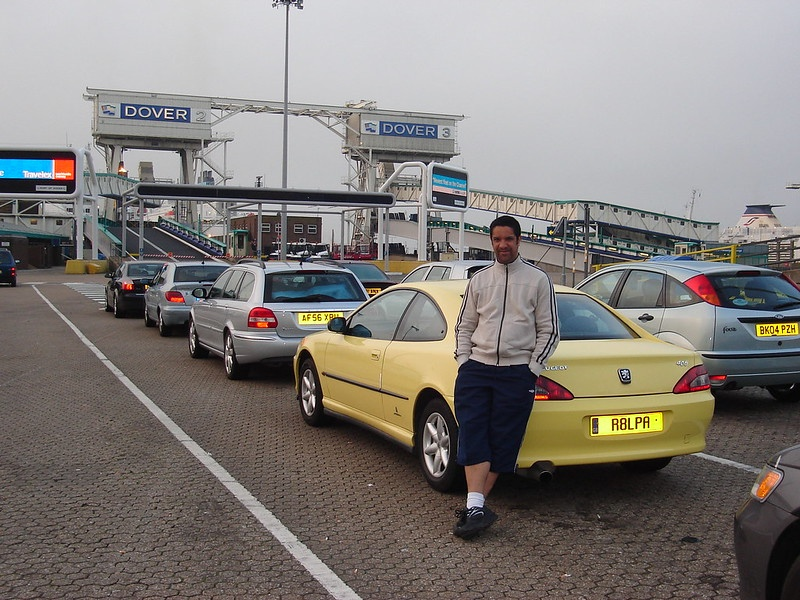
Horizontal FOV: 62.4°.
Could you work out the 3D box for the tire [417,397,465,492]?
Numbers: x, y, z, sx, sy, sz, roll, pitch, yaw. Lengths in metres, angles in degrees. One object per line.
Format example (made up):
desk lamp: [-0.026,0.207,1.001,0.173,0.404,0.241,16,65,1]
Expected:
tire: [0.375,1.168,5.355,0.201,0.705,0.663,3,-12,-25]

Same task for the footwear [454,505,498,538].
footwear: [0.503,1.523,4.553,0.201,0.157,0.401,23,-32,-10]

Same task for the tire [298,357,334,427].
tire: [-0.942,1.056,7.649,0.233,0.757,0.714,1,-11,-25]

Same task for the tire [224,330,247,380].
tire: [-2.630,0.873,10.532,0.225,0.737,0.710,0,23,-26]

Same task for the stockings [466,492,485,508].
stockings: [0.518,1.371,4.538,0.110,0.127,0.090,11,-20,-13]

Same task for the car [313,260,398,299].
car: [-0.834,-0.696,17.876,0.881,0.702,1.980,-2,10,-21]

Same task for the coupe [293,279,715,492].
coupe: [0.464,0.582,6.159,1.769,1.237,3.543,-1,7,-31]

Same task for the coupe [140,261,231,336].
coupe: [-5.651,-0.178,16.814,1.467,1.240,3.527,-1,7,-20]

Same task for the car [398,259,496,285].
car: [1.028,-0.621,13.388,0.743,0.592,1.657,-2,5,-26]

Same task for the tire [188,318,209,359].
tire: [-3.743,0.694,12.346,0.213,0.711,0.671,-2,11,-20]
